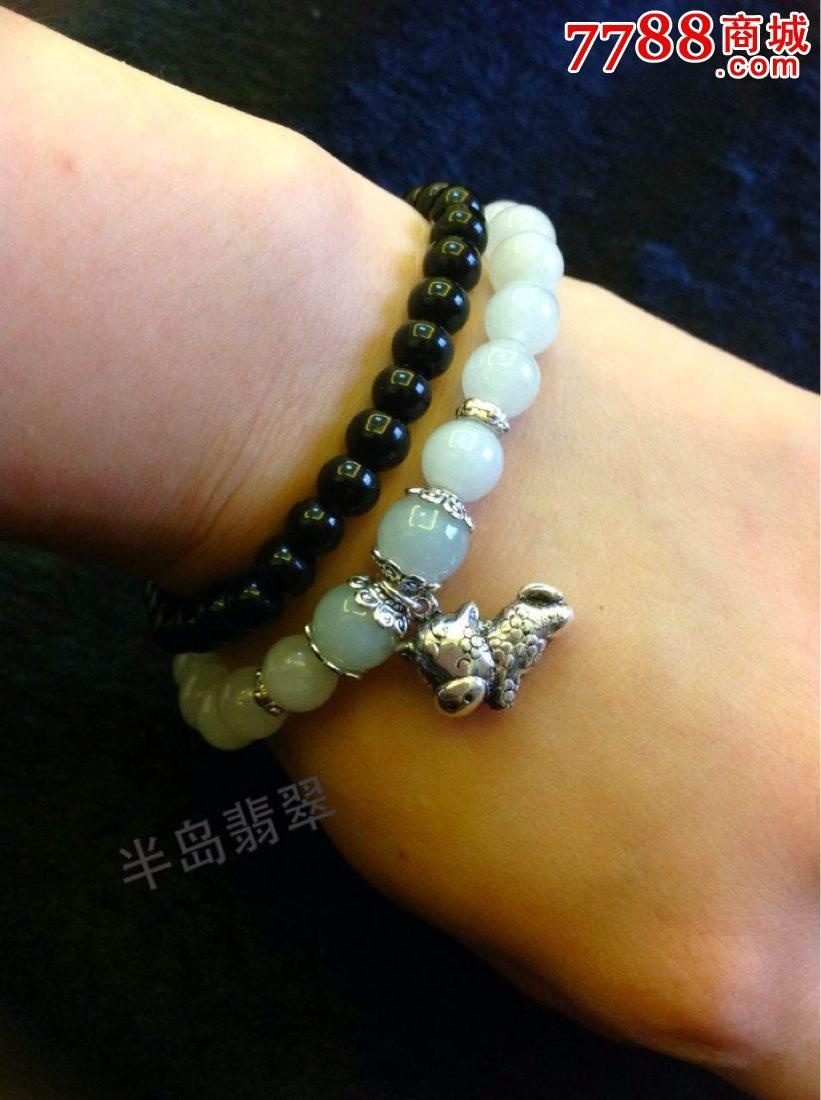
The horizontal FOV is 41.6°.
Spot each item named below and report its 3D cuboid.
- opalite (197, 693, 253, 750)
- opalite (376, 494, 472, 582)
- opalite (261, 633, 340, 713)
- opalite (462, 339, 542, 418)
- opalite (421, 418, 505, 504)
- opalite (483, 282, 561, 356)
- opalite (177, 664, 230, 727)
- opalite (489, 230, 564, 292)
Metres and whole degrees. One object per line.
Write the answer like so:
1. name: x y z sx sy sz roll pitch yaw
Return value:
1. opalite: -0.155 0.139 0.906 0.014 0.049 0.045 -21 81 -52
2. opalite: 0.009 -0.010 0.810 0.065 0.057 0.057 18 45 -1
3. opalite: -0.085 0.091 0.824 0.063 0.061 0.058 2 3 15
4. opalite: 0.074 -0.130 0.838 0.067 0.064 0.059 -3 5 10
5. opalite: 0.034 -0.064 0.858 0.067 0.069 0.063 -7 -12 23
6. opalite: 0.086 -0.185 0.880 0.053 0.060 0.048 18 46 17
7. opalite: -0.167 0.127 0.927 0.044 0.052 0.015 26 -2 41
8. opalite: 0.096 -0.240 0.894 0.051 0.046 0.062 -14 23 -32
